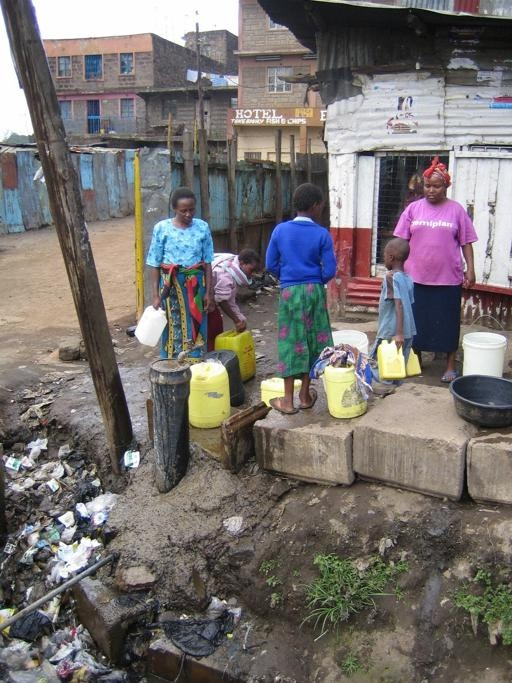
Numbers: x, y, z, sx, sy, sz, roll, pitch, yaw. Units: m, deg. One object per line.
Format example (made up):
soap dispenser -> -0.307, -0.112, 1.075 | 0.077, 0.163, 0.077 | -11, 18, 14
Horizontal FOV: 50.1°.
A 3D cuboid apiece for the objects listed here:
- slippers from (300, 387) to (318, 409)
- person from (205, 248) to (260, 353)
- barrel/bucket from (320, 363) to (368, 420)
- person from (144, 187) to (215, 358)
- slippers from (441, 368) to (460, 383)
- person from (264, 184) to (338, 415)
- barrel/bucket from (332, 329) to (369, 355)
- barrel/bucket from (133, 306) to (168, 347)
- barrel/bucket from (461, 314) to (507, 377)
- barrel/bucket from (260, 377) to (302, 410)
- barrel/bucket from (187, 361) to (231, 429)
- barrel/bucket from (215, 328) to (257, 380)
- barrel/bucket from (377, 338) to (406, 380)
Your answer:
slippers -> 0.352, 0.376, 3.628 | 0.108, 0.082, 0.311 | -1, 5, 14
person -> -0.295, -0.258, 5.075 | 0.523, 1.115, 0.463 | 10, 13, 9
barrel/bucket -> 0.509, 0.274, 3.360 | 0.301, 0.316, 0.294 | -12, 14, 3
person -> -0.585, -0.449, 4.429 | 0.503, 1.431, 0.363 | -9, 29, -24
slippers -> 1.500, 0.257, 4.205 | 0.076, 0.075, 0.215 | -2, 9, 36
person -> 0.282, -0.269, 3.509 | 0.465, 1.423, 0.484 | -1, 14, 15
barrel/bucket -> 0.748, -0.005, 4.271 | 0.242, 0.176, 0.223 | -2, 20, 1
barrel/bucket -> -0.803, -0.122, 4.276 | 0.254, 0.308, 0.218 | -10, 15, -23
barrel/bucket -> 1.593, 0.025, 3.807 | 0.347, 0.311, 0.343 | -2, 21, 1
barrel/bucket -> 0.170, 0.372, 3.973 | 0.212, 0.186, 0.204 | -1, 0, 0
barrel/bucket -> -0.297, 0.385, 4.106 | 0.413, 0.444, 0.415 | -1, 12, 0
barrel/bucket -> -0.177, 0.117, 5.008 | 0.241, 0.407, 0.384 | -1, 11, 25
barrel/bucket -> 0.865, 0.132, 3.489 | 0.162, 0.248, 0.149 | -4, 14, 1
